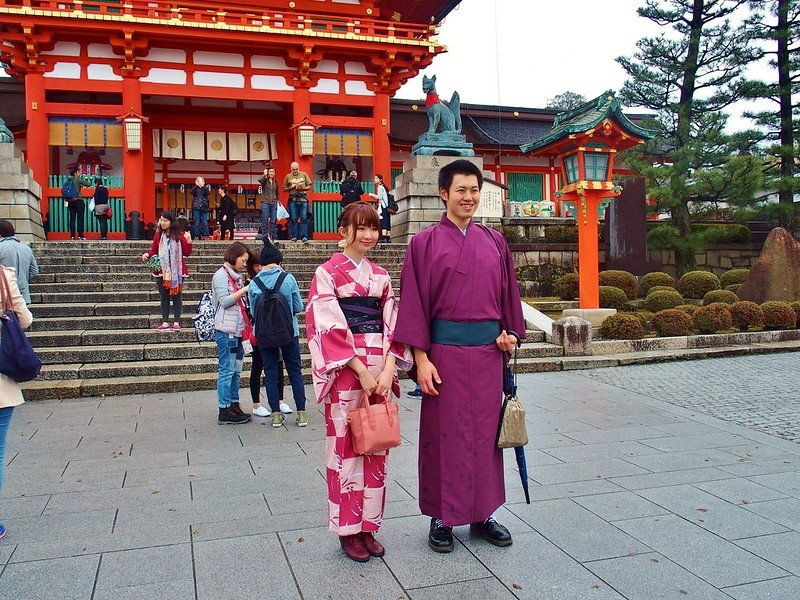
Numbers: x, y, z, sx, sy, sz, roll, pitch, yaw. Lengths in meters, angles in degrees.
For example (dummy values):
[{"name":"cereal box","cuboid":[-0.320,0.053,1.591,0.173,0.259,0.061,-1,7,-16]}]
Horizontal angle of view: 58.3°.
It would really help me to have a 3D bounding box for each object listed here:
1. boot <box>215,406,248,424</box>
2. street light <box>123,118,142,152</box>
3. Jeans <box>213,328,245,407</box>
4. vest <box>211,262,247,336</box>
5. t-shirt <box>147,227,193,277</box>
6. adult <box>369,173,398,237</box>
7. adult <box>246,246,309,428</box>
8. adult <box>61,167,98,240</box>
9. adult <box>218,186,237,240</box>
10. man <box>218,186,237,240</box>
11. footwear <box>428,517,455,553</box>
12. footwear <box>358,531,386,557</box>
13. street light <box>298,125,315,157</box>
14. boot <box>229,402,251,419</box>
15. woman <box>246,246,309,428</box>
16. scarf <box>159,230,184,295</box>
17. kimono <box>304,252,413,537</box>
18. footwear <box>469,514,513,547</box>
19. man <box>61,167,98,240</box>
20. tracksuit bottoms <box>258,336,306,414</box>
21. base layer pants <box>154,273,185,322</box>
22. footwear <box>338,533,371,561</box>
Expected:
[{"name":"boot","cuboid":[-1.791,1.220,7.638,0.344,0.240,0.135,-1,2,-8]},{"name":"street light","cuboid":[-5.877,-3.614,15.662,0.385,0.732,0.196,-6,14,-23]},{"name":"Jeans","cuboid":[-1.818,0.722,7.610,0.295,0.795,0.312,-2,13,-8]},{"name":"vest","cuboid":[-1.829,0.007,7.772,0.409,0.730,0.544,4,1,13]},{"name":"t-shirt","cuboid":[-3.081,-0.611,9.539,0.583,0.729,0.436,-4,-12,-14]},{"name":"adult","cuboid":[-0.329,-1.889,14.553,0.613,1.322,0.407,0,3,17]},{"name":"adult","cuboid":[-1.272,0.370,7.411,0.563,1.889,0.509,-3,14,-12]},{"name":"adult","cuboid":[-6.495,-1.918,14.354,0.459,1.449,1.595,-6,15,-23]},{"name":"adult","cuboid":[-3.965,-1.957,16.379,0.385,1.295,1.436,-3,14,-14]},{"name":"man","cuboid":[-3.961,-1.952,16.363,0.385,1.295,1.400,-3,14,-14]},{"name":"footwear","cuboid":[0.305,1.746,5.355,0.196,0.182,0.211,1,14,4]},{"name":"footwear","cuboid":[-0.215,1.802,5.297,0.089,0.165,0.260,0,-5,-38]},{"name":"street light","cuboid":[-2.204,-3.682,16.626,0.504,0.729,0.603,1,14,-7]},{"name":"boot","cuboid":[-1.693,1.179,7.665,0.257,0.155,0.101,3,3,7]},{"name":"woman","cuboid":[-1.272,0.370,7.411,0.562,1.889,0.510,-3,14,-12]},{"name":"scarf","cuboid":[-3.049,-0.466,9.484,0.296,0.826,0.181,-5,14,-19]},{"name":"kimono","cuboid":[-0.292,0.718,5.421,0.755,2.074,0.699,-4,14,-17]},{"name":"footwear","cuboid":[0.700,1.753,5.476,0.322,0.140,0.149,5,9,39]},{"name":"man","cuboid":[-6.489,-1.915,14.342,0.459,1.449,1.567,-6,15,-23]},{"name":"tracksuit bottoms","cuboid":[-1.240,0.685,7.424,0.413,1.232,0.302,-5,28,-10]},{"name":"base layer pants","cuboid":[-3.146,-0.054,9.730,0.359,1.016,0.243,-15,47,-26]},{"name":"footwear","cuboid":[-0.333,1.815,5.278,0.104,0.166,0.268,0,-3,-38]}]
